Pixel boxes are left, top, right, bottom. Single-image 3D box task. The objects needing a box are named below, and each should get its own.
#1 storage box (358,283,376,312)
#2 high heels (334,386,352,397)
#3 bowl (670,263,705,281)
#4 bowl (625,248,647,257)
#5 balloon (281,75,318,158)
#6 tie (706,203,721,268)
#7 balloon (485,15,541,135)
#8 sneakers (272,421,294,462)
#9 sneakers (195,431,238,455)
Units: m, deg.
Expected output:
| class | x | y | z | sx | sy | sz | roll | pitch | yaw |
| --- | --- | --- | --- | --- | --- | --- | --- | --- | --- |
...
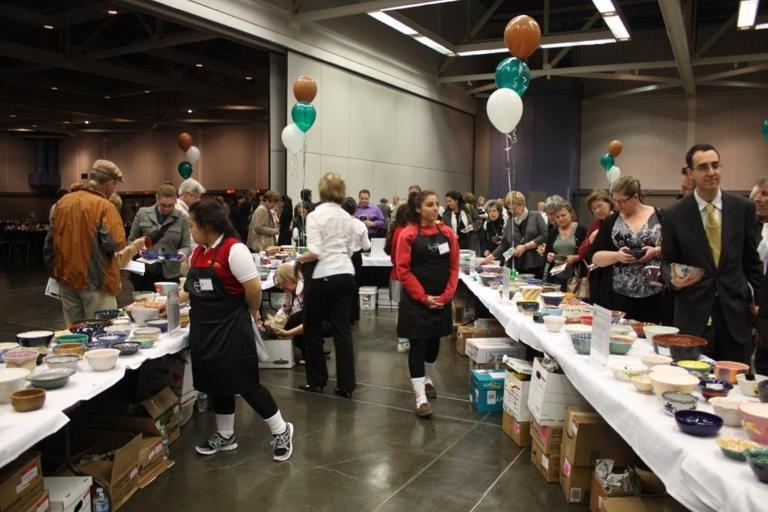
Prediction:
| class | x | y | z | sx | sy | sz | roll | pitch | yaw |
| --- | --- | --- | --- | --- | --- | --- | --- | --- | --- |
| storage box | -0.268 | 0.693 | 8.292 | 0.313 | 0.390 | 0.324 | 0 | 4 | 1 |
| high heels | -0.389 | 1.263 | 4.802 | 0.162 | 0.073 | 0.086 | 17 | 15 | 42 |
| bowl | 1.864 | 0.100 | 3.155 | 0.130 | 0.056 | 0.111 | 3 | -12 | 36 |
| bowl | 1.877 | -0.025 | 3.834 | 0.120 | 0.075 | 0.117 | 0 | 8 | 0 |
| balloon | -1.374 | -2.295 | 8.289 | 0.550 | 1.381 | 0.549 | 0 | 20 | -29 |
| tie | 2.208 | -0.142 | 3.432 | 0.072 | 0.450 | 0.021 | 1 | -6 | 28 |
| balloon | 1.701 | -2.436 | 6.770 | 0.643 | 1.668 | 1.119 | 2 | 8 | 15 |
| sneakers | -0.764 | 1.375 | 3.802 | 0.113 | 0.287 | 0.124 | -2 | -14 | 24 |
| sneakers | -1.267 | 1.383 | 3.851 | 0.303 | 0.145 | 0.131 | 1 | -1 | -25 |
